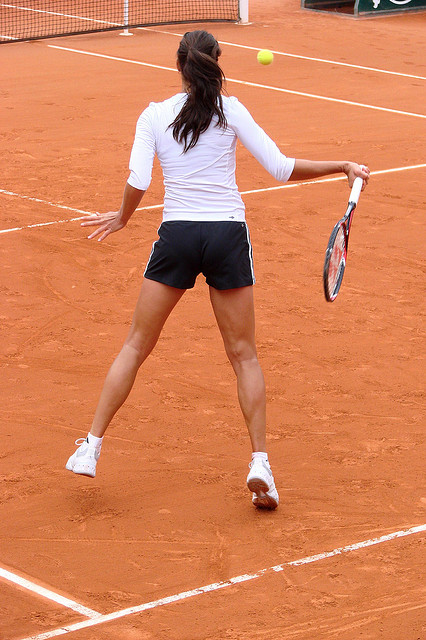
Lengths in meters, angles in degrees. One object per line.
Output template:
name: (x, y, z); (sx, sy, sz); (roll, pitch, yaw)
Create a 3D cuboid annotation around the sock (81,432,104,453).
sock: (-0.487, 0.512, 2.570); (0.049, 0.094, 0.120); (5, 9, 26)

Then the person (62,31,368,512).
person: (-0.065, -0.161, 2.537); (1.009, 1.934, 0.536); (2, 9, 7)

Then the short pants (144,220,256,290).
short pants: (-0.042, -0.253, 2.476); (0.458, 0.259, 0.188); (1, -4, 20)
